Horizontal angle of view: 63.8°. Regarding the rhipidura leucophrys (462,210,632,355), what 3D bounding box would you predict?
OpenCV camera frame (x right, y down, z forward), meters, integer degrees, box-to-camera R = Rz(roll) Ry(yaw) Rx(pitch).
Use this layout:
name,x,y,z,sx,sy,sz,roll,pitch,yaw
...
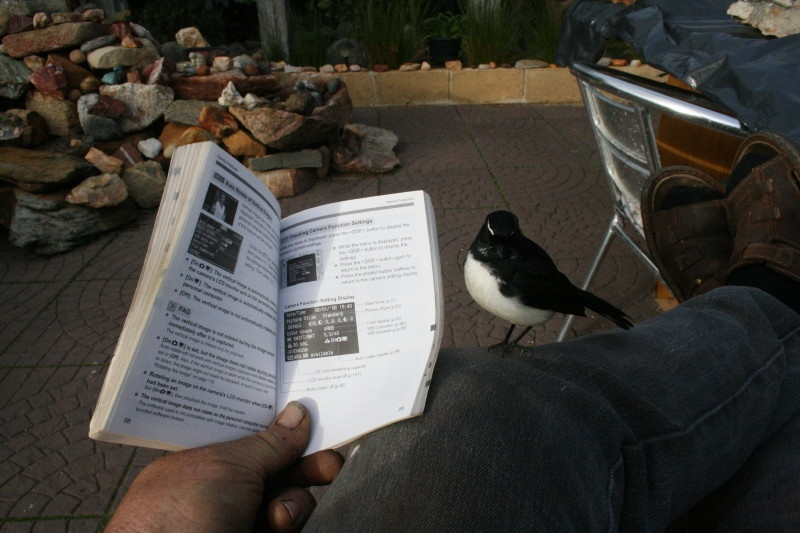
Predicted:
name,x,y,z,sx,sy,sz,roll,pitch,yaw
rhipidura leucophrys,0.653,0.074,2.864,0.728,0.569,0.387,0,11,-5

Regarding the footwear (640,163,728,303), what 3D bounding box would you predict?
name,x,y,z,sx,sy,sz,roll,pitch,yaw
footwear,1.297,-0.164,2.929,0.289,0.722,0.276,-3,0,18
